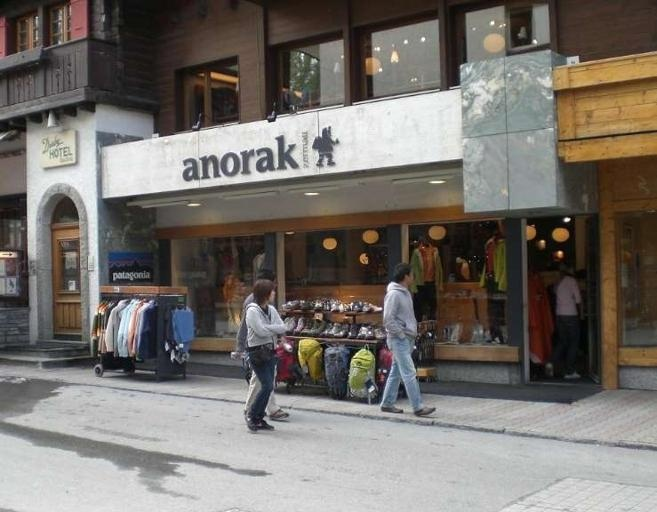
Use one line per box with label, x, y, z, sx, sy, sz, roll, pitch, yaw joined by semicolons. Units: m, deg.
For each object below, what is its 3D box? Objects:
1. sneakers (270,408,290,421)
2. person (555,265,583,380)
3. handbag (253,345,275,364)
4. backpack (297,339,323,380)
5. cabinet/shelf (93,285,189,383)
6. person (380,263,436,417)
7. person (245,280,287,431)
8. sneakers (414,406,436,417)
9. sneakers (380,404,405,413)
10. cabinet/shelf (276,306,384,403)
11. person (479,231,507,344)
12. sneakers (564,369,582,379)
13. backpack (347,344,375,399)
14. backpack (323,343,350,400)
sneakers;-0.726;2.346;10.629;0.268;0.143;0.130;0;-2;-1
person;4.667;1.257;14.008;0.471;2.209;0.712;-5;-5;42
handbag;-0.872;1.288;9.700;0.213;0.224;0.300;-5;-7;37
backpack;-0.304;1.779;12.411;0.416;0.679;0.196;-2;-3;-3
cabinet/shelf;-3.690;1.530;14.151;1.616;1.635;0.697;-4;-7;36
person;1.102;1.241;10.767;0.622;2.275;0.623;-2;-3;-8
person;-0.878;1.347;9.896;0.579;2.091;0.604;-2;-4;-11
sneakers;1.415;2.280;10.597;0.337;0.153;0.129;-9;-2;5
sneakers;0.961;2.303;10.895;0.331;0.144;0.128;-1;-4;8
cabinet/shelf;0.156;1.623;12.595;2.028;1.469;1.309;-4;-6;43
person;3.196;0.545;13.789;0.175;2.246;0.596;1;-5;-41
sneakers;4.718;2.265;13.823;0.351;0.164;0.138;2;-5;-29
backpack;0.540;1.925;11.749;0.449;0.888;0.366;-3;-4;2
backpack;0.141;1.945;12.136;0.442;0.888;0.346;-3;-4;3
